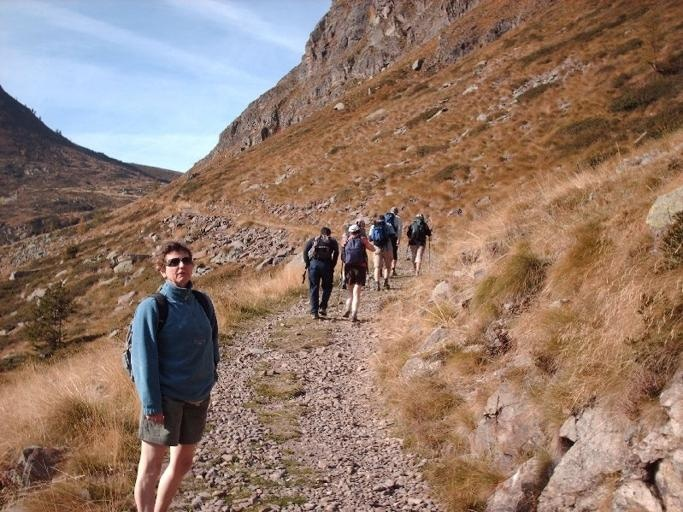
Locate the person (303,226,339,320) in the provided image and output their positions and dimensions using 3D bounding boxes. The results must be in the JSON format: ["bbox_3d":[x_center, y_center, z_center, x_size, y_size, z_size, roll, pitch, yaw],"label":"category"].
[{"bbox_3d":[-0.451,0.372,13.549,0.773,2.201,0.831,-6,17,-34],"label":"person"}]

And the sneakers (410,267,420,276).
[{"bbox_3d":[2.085,0.469,17.237,0.163,0.182,0.164,0,11,8],"label":"sneakers"}]

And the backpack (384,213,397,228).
[{"bbox_3d":[1.256,-0.903,15.959,0.281,0.424,0.230,-9,-17,-2],"label":"backpack"}]

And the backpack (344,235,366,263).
[{"bbox_3d":[0.272,-0.112,12.831,0.410,0.606,0.325,-3,-30,8],"label":"backpack"}]
